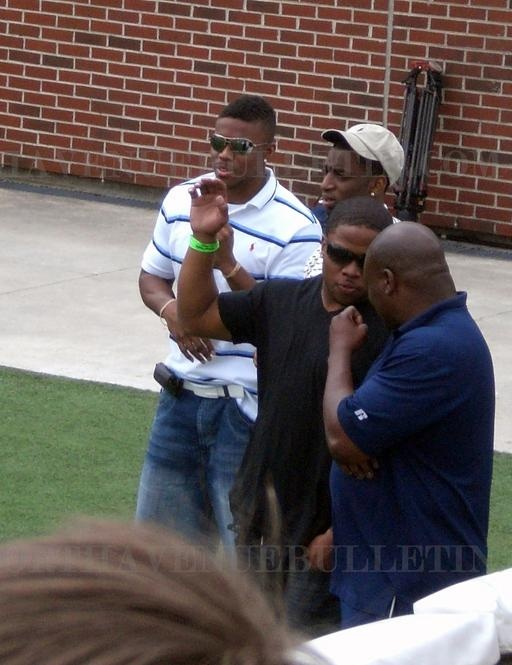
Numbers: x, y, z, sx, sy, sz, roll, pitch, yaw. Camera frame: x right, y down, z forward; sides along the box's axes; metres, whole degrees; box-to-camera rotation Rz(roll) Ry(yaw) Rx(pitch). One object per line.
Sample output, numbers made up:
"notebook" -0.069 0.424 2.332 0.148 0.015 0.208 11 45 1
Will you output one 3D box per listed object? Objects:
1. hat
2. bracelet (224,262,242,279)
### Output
"hat" 0.522 -0.746 3.720 0.360 0.169 0.247 34 -4 -40
"bracelet" -0.069 -0.191 2.773 0.020 0.045 0.043 34 12 20
